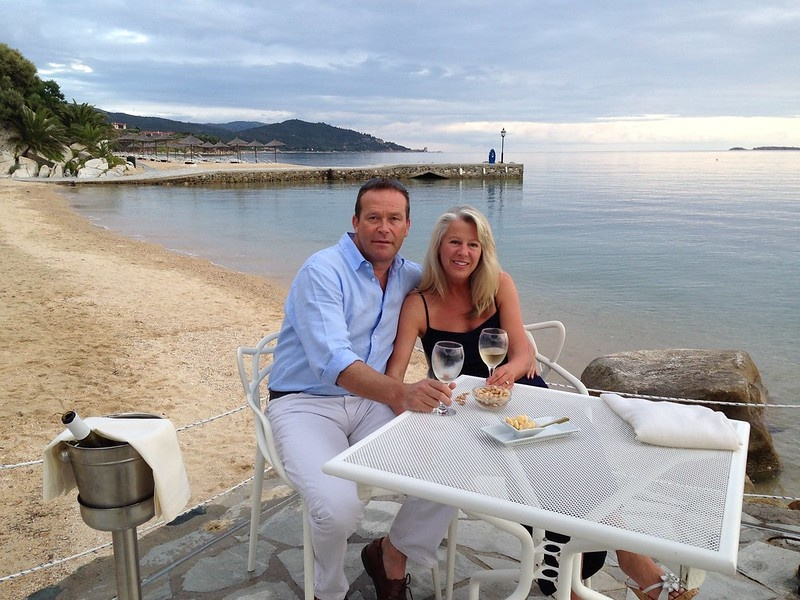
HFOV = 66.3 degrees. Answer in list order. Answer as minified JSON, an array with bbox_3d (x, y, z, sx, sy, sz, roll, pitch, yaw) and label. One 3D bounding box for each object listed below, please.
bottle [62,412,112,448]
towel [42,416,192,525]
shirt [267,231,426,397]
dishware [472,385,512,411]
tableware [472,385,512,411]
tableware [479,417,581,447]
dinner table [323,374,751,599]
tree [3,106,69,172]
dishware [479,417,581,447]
[{"bbox_3d":[-1.123,0.467,2.199,0.157,0.162,0.080,-3,15,-7],"label":"bottle"},{"bbox_3d":[-1.046,0.583,2.336,0.516,0.325,0.458,4,-1,-6],"label":"towel"},{"bbox_3d":[-0.341,0.081,3.447,0.806,0.687,1.140,8,2,42],"label":"shirt"},{"bbox_3d":[0.400,0.430,2.684,0.122,0.048,0.114,1,10,11],"label":"dishware"},{"bbox_3d":[0.400,0.432,2.685,0.122,0.048,0.114,1,10,11],"label":"tableware"},{"bbox_3d":[0.513,0.528,2.420,0.253,0.029,0.135,-4,11,-13],"label":"tableware"},{"bbox_3d":[0.551,0.642,2.164,1.069,0.590,1.056,5,10,29],"label":"dinner table"},{"bbox_3d":[-23.484,-10.353,39.403,2.835,3.685,4.288,-5,14,-15],"label":"tree"},{"bbox_3d":[0.513,0.528,2.420,0.253,0.029,0.135,-4,11,-13],"label":"dishware"}]
